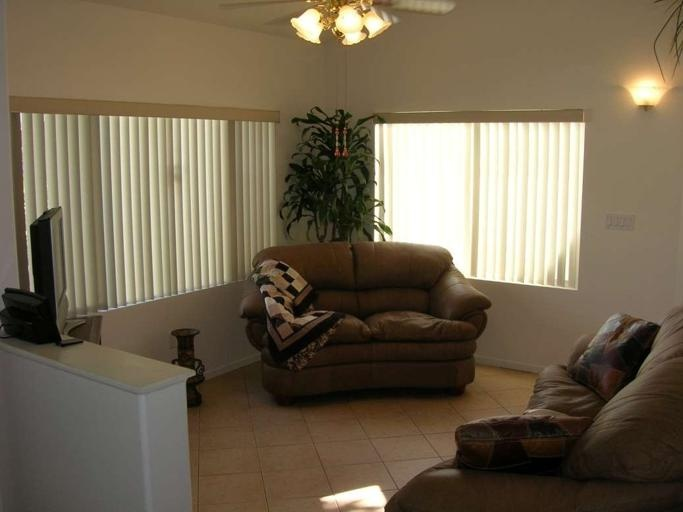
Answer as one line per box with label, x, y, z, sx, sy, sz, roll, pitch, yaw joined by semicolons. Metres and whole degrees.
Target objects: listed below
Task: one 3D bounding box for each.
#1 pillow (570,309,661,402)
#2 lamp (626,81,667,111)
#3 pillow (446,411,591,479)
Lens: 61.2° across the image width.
pillow;1.602;0.567;3.350;0.143;0.455;0.473;34;4;-6
lamp;2.397;-1.255;4.483;0.239;0.148;0.224;0;-1;15
pillow;0.688;0.725;2.271;0.329;0.110;0.279;-15;3;10
